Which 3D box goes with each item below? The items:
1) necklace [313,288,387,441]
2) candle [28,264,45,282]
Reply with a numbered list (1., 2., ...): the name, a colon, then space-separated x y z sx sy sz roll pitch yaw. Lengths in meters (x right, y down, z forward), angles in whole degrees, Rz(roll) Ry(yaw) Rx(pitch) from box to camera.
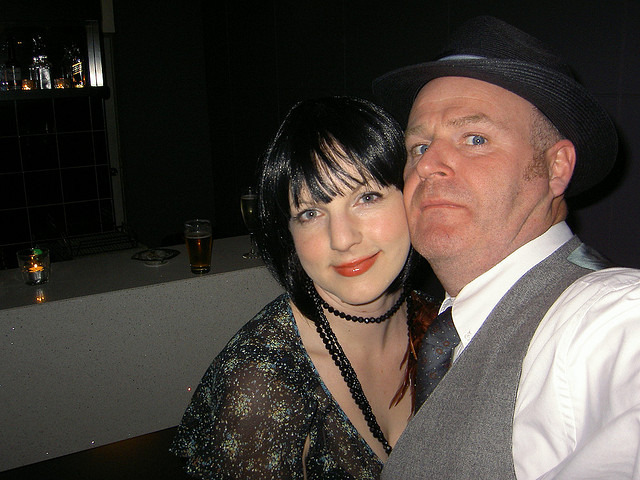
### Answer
1. necklace: 0.087 0.402 1.685 0.049 0.024 0.587 20 35 -51
2. candle: -1.441 0.172 2.779 0.076 0.095 0.080 4 8 26
